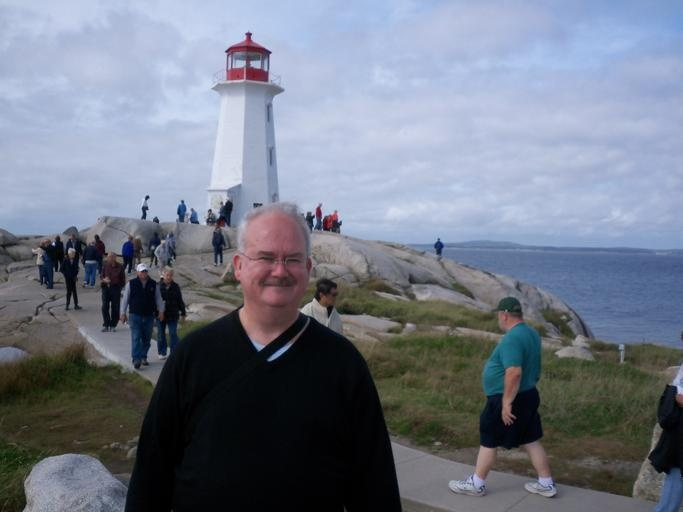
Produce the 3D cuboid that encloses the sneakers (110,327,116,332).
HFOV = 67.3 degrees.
[{"bbox_3d":[-6.660,2.141,14.948,0.122,0.114,0.118,2,-7,-11],"label":"sneakers"}]

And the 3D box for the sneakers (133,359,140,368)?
[{"bbox_3d":[-4.654,2.450,11.673,0.121,0.223,0.168,-2,-9,-9],"label":"sneakers"}]

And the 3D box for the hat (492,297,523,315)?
[{"bbox_3d":[2.036,0.602,6.309,0.195,0.162,0.271,-2,4,-21],"label":"hat"}]

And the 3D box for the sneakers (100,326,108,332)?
[{"bbox_3d":[-6.912,2.122,14.886,0.322,0.181,0.145,-16,-17,40],"label":"sneakers"}]

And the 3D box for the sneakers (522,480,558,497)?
[{"bbox_3d":[2.365,2.775,6.111,0.376,0.179,0.145,1,-2,30],"label":"sneakers"}]

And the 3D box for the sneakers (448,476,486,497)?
[{"bbox_3d":[1.525,2.744,6.225,0.456,0.228,0.179,2,0,16],"label":"sneakers"}]

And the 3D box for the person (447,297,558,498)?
[{"bbox_3d":[1.994,1.690,6.242,0.876,2.406,0.873,3,-15,-32],"label":"person"}]

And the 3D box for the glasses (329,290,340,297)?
[{"bbox_3d":[-0.096,0.543,7.488,0.077,0.097,0.036,-5,-9,25],"label":"glasses"}]
